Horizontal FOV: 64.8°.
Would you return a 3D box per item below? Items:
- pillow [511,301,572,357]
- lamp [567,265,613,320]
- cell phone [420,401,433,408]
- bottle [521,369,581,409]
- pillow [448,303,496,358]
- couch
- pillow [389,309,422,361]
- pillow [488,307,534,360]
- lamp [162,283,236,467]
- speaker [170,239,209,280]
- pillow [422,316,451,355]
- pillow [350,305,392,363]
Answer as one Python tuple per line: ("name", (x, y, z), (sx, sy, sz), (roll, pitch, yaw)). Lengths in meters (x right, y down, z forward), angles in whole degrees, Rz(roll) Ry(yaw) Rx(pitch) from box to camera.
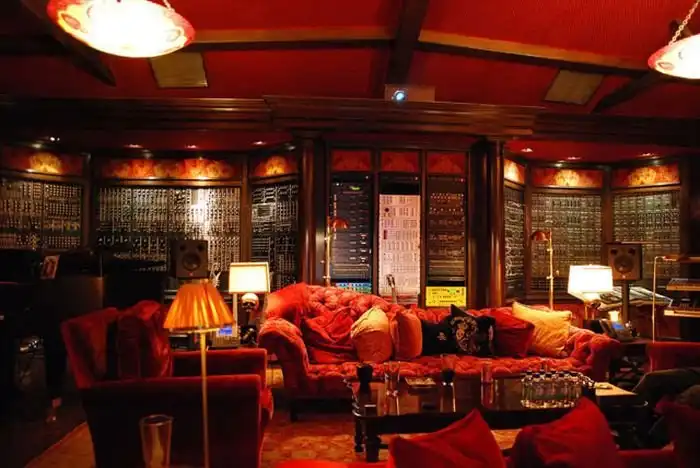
("pillow", (2.244, 1.101, 6.449), (0.636, 0.493, 0.283), (-1, 8, 14))
("lamp", (3.067, 0.690, 6.843), (0.631, 0.747, 0.609), (0, -1, 36))
("cell phone", (0.678, 1.503, 4.852), (0.115, 0.036, 0.109), (0, -2, 4))
("bottle", (1.815, 1.392, 4.951), (0.387, 0.223, 0.380), (-1, -1, 0))
("pillow", (1.393, 1.131, 6.326), (0.546, 0.530, 0.200), (6, -20, -5))
("couch", (0.865, 1.392, 6.165), (3.785, 1.270, 1.288), (-16, -17, 43))
("pillow", (0.654, 1.195, 6.380), (0.332, 0.544, 0.598), (-7, -10, 25))
("pillow", (1.875, 1.202, 6.419), (0.512, 0.454, 0.284), (8, 3, 43))
("lamp", (-1.238, 1.133, 4.491), (0.513, 1.534, 0.739), (1, -2, -17))
("speaker", (-1.931, 0.298, 6.656), (0.470, 0.447, 0.484), (1, -6, -13))
("pillow", (0.983, 1.170, 6.302), (0.414, 0.389, 0.145), (3, -23, -14))
("pillow", (0.251, 1.139, 6.243), (0.463, 0.575, 0.314), (0, -2, -2))
